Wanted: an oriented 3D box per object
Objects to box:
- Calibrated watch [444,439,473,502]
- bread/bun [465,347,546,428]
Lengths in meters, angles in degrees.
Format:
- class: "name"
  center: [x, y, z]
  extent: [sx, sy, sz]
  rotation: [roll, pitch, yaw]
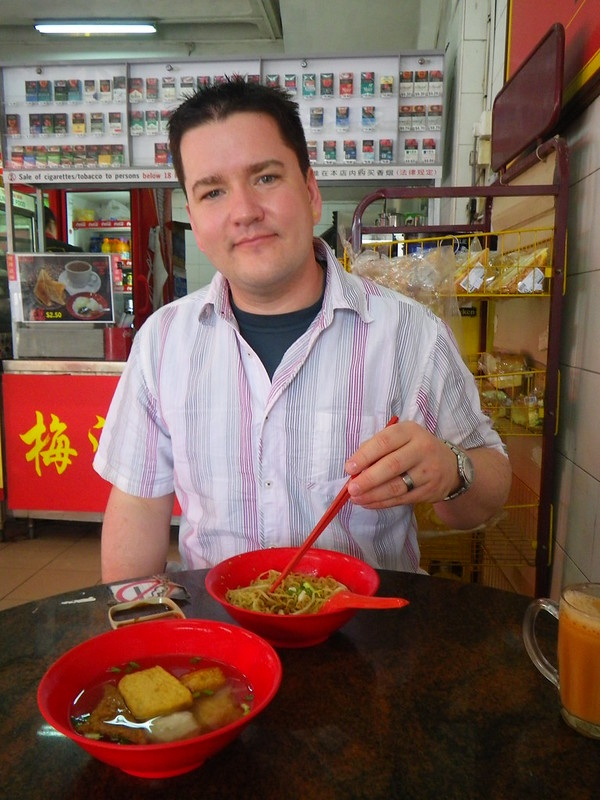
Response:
- class: "Calibrated watch"
  center: [0.287, 0.130, 1.117]
  extent: [0.050, 0.114, 0.089]
  rotation: [2, 10, 13]
- class: "bread/bun"
  center: [0.739, -0.046, 2.282]
  extent: [0.266, 0.193, 0.465]
  rotation: [-1, 10, 5]
